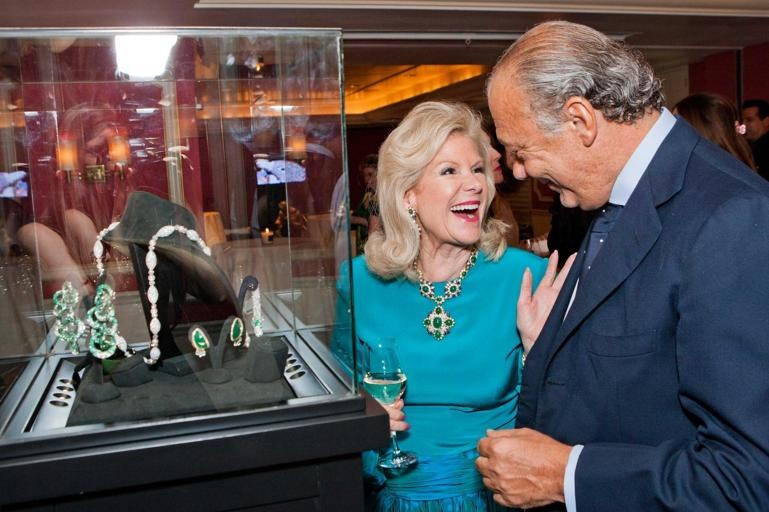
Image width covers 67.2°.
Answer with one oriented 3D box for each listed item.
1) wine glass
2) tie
[{"bbox_3d":[0.024,0.484,1.860,0.142,0.477,0.253,-4,12,4],"label":"wine glass"},{"bbox_3d":[0.620,-0.016,1.681,0.063,0.263,0.155,14,7,3],"label":"tie"}]
